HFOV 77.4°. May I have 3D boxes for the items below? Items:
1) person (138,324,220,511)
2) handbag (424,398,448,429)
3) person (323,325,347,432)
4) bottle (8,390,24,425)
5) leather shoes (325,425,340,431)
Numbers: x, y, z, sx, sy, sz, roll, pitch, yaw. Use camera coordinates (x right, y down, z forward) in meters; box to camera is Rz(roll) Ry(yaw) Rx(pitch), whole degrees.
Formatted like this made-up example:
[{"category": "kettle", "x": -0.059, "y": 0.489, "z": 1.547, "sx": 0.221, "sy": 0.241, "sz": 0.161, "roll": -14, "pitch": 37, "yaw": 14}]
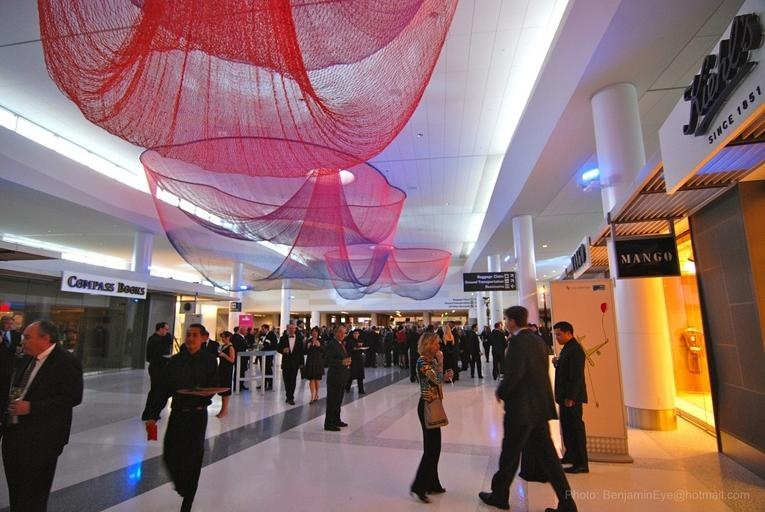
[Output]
[{"category": "person", "x": -2.385, "y": 1.954, "z": 5.775, "sx": 0.797, "sy": 2.255, "sz": 1.053, "roll": 5, "pitch": -14, "yaw": -25}, {"category": "handbag", "x": 0.649, "y": 2.017, "z": 6.065, "sx": 0.268, "sy": 0.363, "sz": 0.120, "roll": 0, "pitch": -13, "yaw": -2}, {"category": "person", "x": -0.882, "y": 2.346, "z": 9.380, "sx": 0.469, "sy": 1.984, "sz": 0.968, "roll": 0, "pitch": -13, "yaw": -5}, {"category": "bottle", "x": -4.083, "y": 1.723, "z": 5.378, "sx": 0.240, "sy": 0.279, "sz": 0.275, "roll": 1, "pitch": 2, "yaw": -37}, {"category": "leather shoes", "x": -0.923, "y": 3.185, "z": 8.742, "sx": 0.289, "sy": 0.117, "sz": 0.100, "roll": -1, "pitch": -13, "yaw": -1}]
